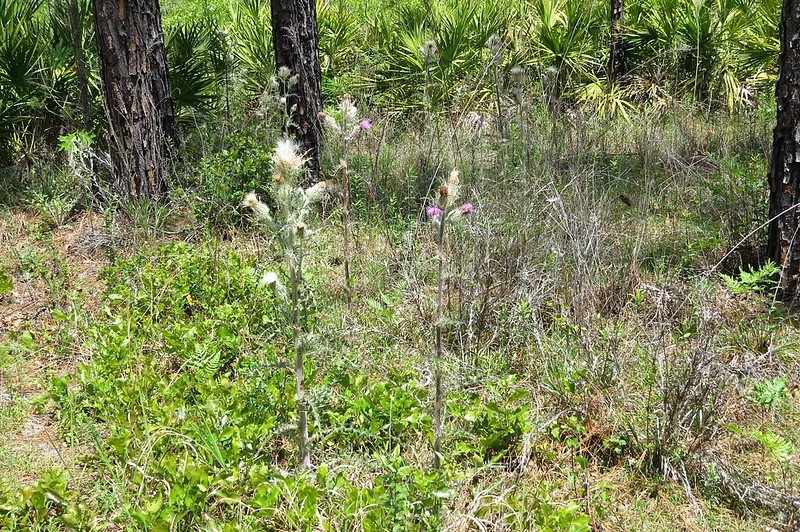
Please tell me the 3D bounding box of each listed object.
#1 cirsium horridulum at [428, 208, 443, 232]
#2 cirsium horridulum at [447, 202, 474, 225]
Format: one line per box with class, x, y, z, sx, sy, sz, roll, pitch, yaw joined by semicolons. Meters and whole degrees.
cirsium horridulum;0.201;-0.282;4.191;0.075;0.144;0.068;0;14;17
cirsium horridulum;0.338;-0.299;4.010;0.146;0.089;0.085;-15;18;-39
